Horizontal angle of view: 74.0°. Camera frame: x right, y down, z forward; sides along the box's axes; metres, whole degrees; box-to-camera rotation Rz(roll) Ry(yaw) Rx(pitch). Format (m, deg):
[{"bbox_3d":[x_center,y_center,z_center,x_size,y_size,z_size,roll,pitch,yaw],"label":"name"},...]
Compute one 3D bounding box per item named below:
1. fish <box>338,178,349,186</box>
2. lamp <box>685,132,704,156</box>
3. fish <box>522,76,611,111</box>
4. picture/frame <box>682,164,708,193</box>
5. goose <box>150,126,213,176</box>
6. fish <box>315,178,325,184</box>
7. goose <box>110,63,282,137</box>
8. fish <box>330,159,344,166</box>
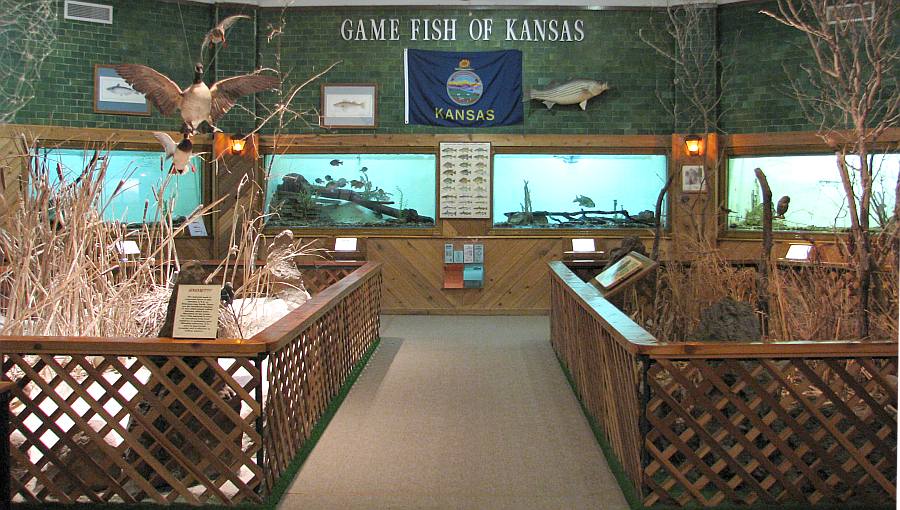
[{"bbox_3d":[-1.754,-1.205,9.877,0.148,0.106,0.064,-6,7,5],"label":"fish"},{"bbox_3d":[3.898,-1.765,9.540,0.331,0.437,0.340,1,3,10],"label":"lamp"},{"bbox_3d":[1.976,-2.679,10.032,1.623,0.606,0.456,-4,4,-1],"label":"fish"},{"bbox_3d":[3.950,-1.241,9.611,0.521,0.517,0.064,0,0,2],"label":"picture/frame"},{"bbox_3d":[-2.172,-0.801,4.860,0.490,0.228,0.488,17,-20,-26],"label":"goose"},{"bbox_3d":[-2.146,-1.226,9.877,0.143,0.085,0.037,-2,14,-9],"label":"fish"},{"bbox_3d":[-2.123,-1.308,5.016,1.282,0.490,0.666,-3,9,-31],"label":"goose"},{"bbox_3d":[-1.869,-1.529,9.869,0.200,0.114,0.048,-3,14,-12],"label":"fish"}]
